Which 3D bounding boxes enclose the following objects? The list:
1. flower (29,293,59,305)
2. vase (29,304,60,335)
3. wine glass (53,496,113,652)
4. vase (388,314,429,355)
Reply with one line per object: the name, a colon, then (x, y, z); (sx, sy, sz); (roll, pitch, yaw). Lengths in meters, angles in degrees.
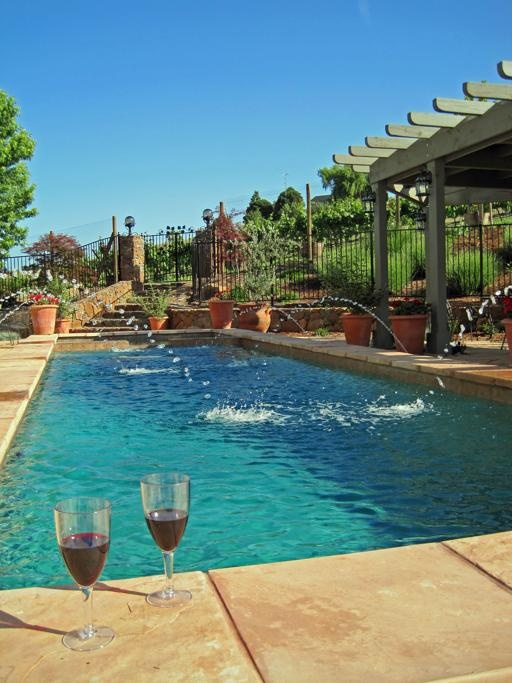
flower: (-5.613, -1.116, 14.184); (0.614, 0.256, 0.618); (1, 1, 5)
vase: (-5.692, -0.560, 14.018); (0.786, 0.741, 0.796); (0, -2, -4)
wine glass: (-0.341, 0.461, 1.062); (0.110, 0.334, 0.280); (1, 3, -15)
vase: (2.310, -0.116, 8.007); (0.586, 0.526, 0.580); (-1, -3, -5)
